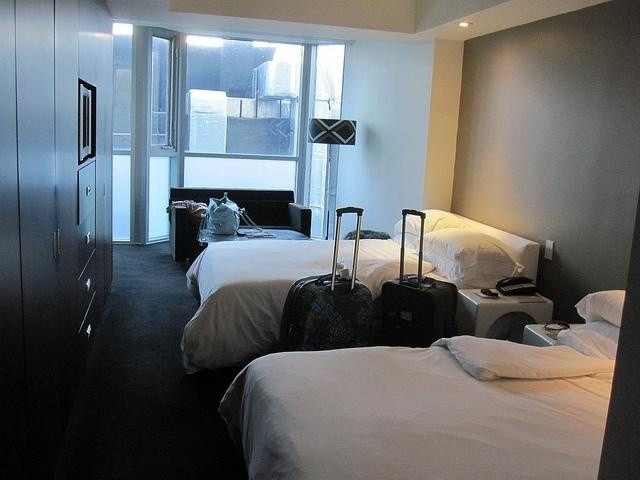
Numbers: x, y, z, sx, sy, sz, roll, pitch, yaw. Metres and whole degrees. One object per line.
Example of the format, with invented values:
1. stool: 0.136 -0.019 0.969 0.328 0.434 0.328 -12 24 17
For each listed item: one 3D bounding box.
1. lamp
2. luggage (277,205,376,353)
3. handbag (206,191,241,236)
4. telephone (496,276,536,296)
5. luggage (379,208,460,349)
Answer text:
1. lamp: 0.193 -0.942 6.809 0.514 1.859 0.807 2 11 -10
2. luggage: 0.071 0.293 3.456 0.629 1.133 0.362 -4 16 -31
3. handbag: -1.199 -0.283 5.754 0.321 0.499 0.479 0 1 -30
4. telephone: 1.545 0.367 3.703 0.176 0.091 0.182 0 3 -2
5. luggage: 0.785 0.335 3.735 0.537 1.144 0.415 9 15 37
